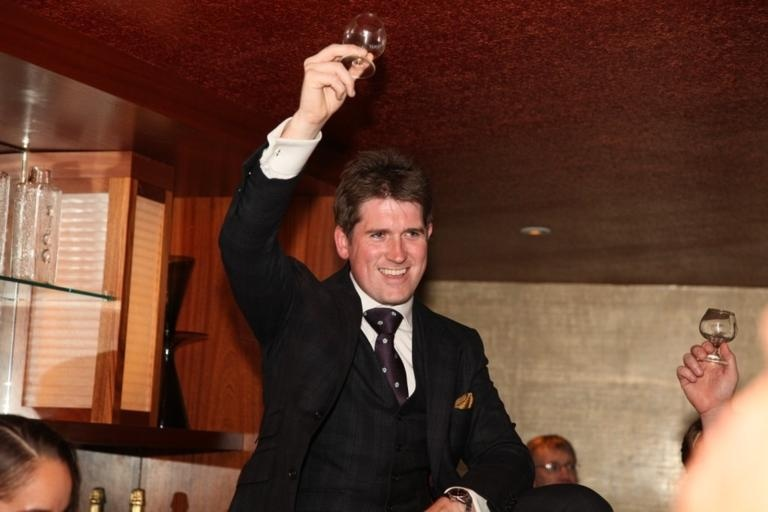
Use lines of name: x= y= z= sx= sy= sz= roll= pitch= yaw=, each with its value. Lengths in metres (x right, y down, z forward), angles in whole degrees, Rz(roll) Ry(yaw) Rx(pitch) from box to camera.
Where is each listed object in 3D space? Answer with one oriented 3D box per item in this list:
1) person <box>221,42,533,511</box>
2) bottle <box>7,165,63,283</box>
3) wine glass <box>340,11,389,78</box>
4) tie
person: x=-0.035 y=0.150 z=2.392 sx=1.064 sy=1.371 sz=0.627 roll=9 pitch=-10 yaw=-38
bottle: x=-1.454 y=-0.128 z=2.888 sx=0.178 sy=0.478 sz=0.157 roll=7 pitch=-9 yaw=-27
wine glass: x=-0.062 y=-0.636 z=2.086 sx=0.116 sy=0.248 sz=0.179 roll=1 pitch=-8 yaw=14
tie: x=0.002 y=0.365 z=2.563 sx=0.163 sy=0.313 sz=0.092 roll=-11 pitch=-15 yaw=-8
